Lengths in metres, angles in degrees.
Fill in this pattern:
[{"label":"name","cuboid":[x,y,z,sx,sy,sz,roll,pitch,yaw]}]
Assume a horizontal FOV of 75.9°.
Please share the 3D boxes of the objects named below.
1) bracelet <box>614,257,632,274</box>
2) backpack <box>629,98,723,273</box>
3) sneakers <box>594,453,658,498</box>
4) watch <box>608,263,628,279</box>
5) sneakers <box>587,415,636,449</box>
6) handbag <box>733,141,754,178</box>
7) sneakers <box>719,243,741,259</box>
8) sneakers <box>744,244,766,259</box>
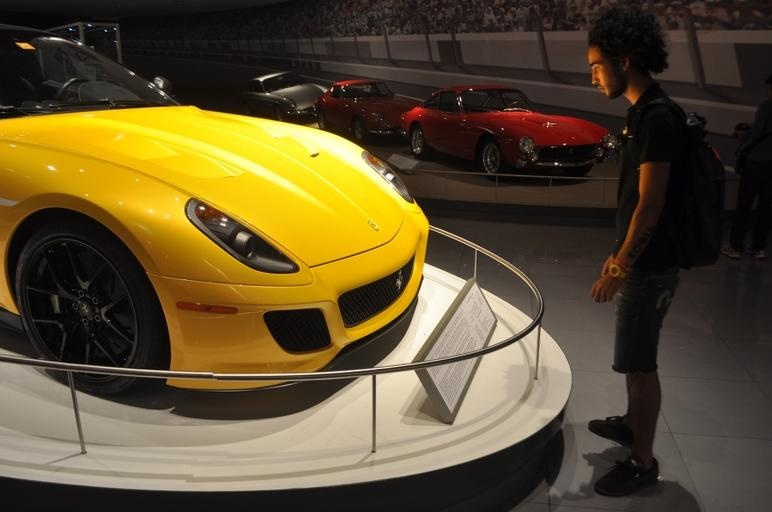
[{"label":"bracelet","cuboid":[1.190,0.042,2.498,0.039,0.069,0.092,-42,49,-19]},{"label":"backpack","cuboid":[1.547,-0.321,2.465,0.237,0.760,0.322,6,27,33]},{"label":"sneakers","cuboid":[1.280,1.190,2.633,0.437,0.140,0.150,-9,16,-23]},{"label":"watch","cuboid":[1.170,0.083,2.513,0.086,0.047,0.072,10,38,-42]},{"label":"sneakers","cuboid":[1.337,1.030,2.970,0.307,0.113,0.100,17,43,22]},{"label":"handbag","cuboid":[3.693,-0.999,5.082,0.095,0.237,0.176,-1,9,-8]},{"label":"sneakers","cuboid":[3.501,-0.036,5.039,0.081,0.097,0.235,-34,30,-17]},{"label":"sneakers","cuboid":[3.938,-0.028,5.261,0.093,0.090,0.257,-13,12,-11]}]
